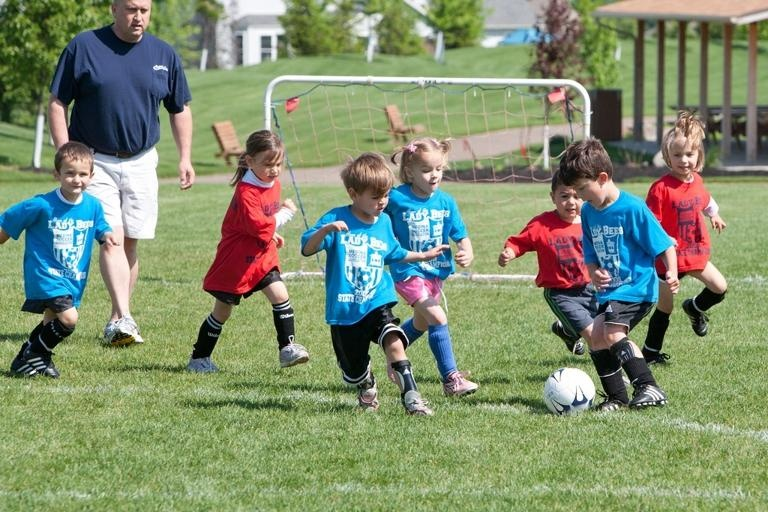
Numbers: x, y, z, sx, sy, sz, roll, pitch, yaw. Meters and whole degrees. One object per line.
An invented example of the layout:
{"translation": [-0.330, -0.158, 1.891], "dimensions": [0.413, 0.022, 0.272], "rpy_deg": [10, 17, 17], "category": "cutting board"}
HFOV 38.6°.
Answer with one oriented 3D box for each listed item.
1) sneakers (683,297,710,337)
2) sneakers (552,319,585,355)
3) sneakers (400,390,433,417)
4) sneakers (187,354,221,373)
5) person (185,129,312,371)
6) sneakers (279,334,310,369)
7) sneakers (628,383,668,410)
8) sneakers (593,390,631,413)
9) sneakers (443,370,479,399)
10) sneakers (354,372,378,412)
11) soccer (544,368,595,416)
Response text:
{"translation": [2.882, 0.529, 10.035], "dimensions": [0.202, 0.450, 0.165], "rpy_deg": [-3, 32, 40], "category": "sneakers"}
{"translation": [1.684, 0.763, 9.801], "dimensions": [0.184, 0.442, 0.163], "rpy_deg": [-23, 39, 25], "category": "sneakers"}
{"translation": [0.278, 1.172, 8.656], "dimensions": [0.122, 0.137, 0.327], "rpy_deg": [-7, 11, -31], "category": "sneakers"}
{"translation": [-1.574, 0.948, 9.489], "dimensions": [0.234, 0.099, 0.132], "rpy_deg": [2, 5, 2], "category": "sneakers"}
{"translation": [-1.163, -0.030, 9.419], "dimensions": [0.962, 2.085, 0.402], "rpy_deg": [-2, 8, -5], "category": "person"}
{"translation": [-0.779, 0.850, 9.403], "dimensions": [0.327, 0.232, 0.163], "rpy_deg": [-13, -5, 31], "category": "sneakers"}
{"translation": [2.097, 1.128, 8.677], "dimensions": [0.294, 0.132, 0.158], "rpy_deg": [8, -20, -32], "category": "sneakers"}
{"translation": [1.827, 1.199, 8.730], "dimensions": [0.323, 0.144, 0.108], "rpy_deg": [1, -7, -20], "category": "sneakers"}
{"translation": [0.632, 1.082, 9.054], "dimensions": [0.272, 0.132, 0.175], "rpy_deg": [0, 5, 31], "category": "sneakers"}
{"translation": [-0.141, 1.109, 8.792], "dimensions": [0.122, 0.346, 0.162], "rpy_deg": [-3, -7, 5], "category": "sneakers"}
{"translation": [1.466, 1.173, 8.778], "dimensions": [0.402, 0.359, 0.357], "rpy_deg": [-4, 51, 0], "category": "soccer"}
